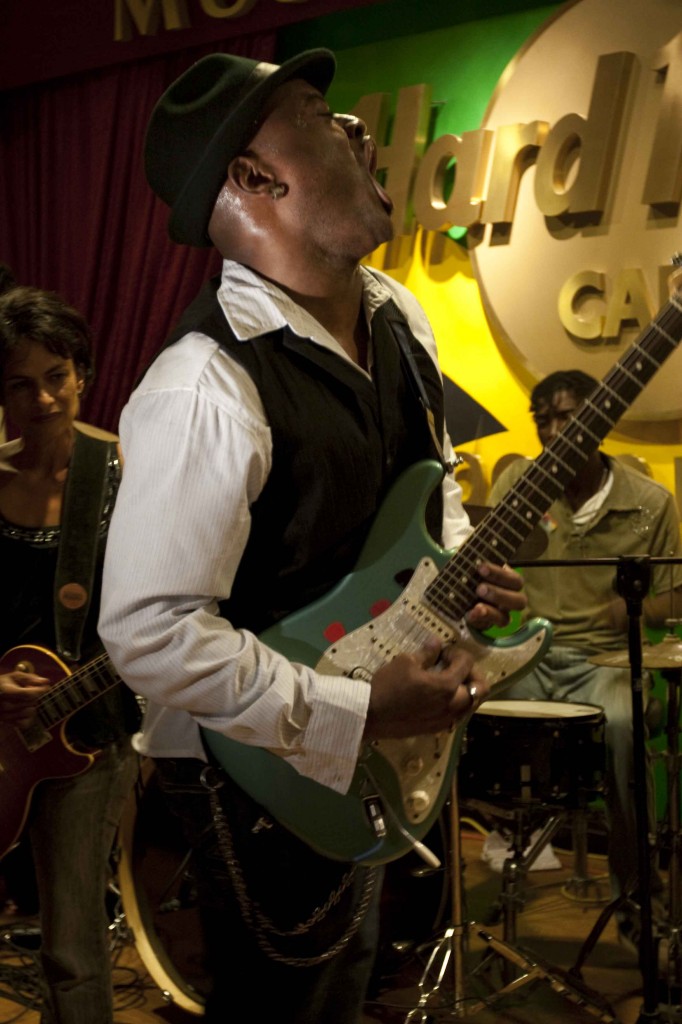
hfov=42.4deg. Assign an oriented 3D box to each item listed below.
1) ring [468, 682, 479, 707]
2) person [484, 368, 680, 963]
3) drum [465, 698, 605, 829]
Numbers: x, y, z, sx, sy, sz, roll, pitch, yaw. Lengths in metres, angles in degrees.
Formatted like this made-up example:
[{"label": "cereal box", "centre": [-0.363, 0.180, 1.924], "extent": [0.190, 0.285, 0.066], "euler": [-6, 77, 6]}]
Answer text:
[{"label": "ring", "centre": [0.139, 0.193, 0.928], "extent": [0.012, 0.003, 0.022], "euler": [9, 42, 1]}, {"label": "person", "centre": [0.815, 0.387, 2.851], "extent": [0.762, 1.841, 0.211], "euler": [-8, -21, 43]}, {"label": "drum", "centre": [0.510, 0.640, 2.362], "extent": [0.399, 0.261, 0.381], "euler": [0, 0, 0]}]
